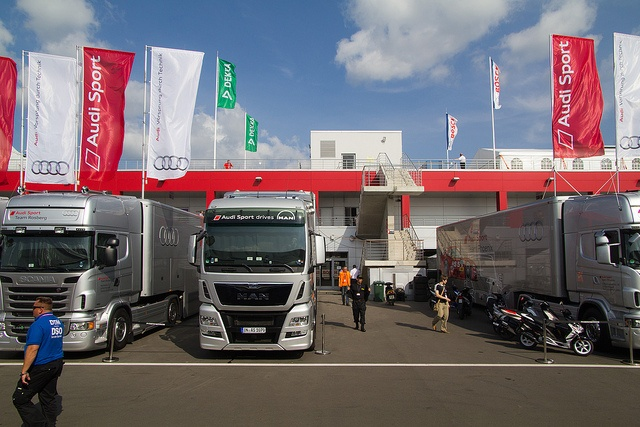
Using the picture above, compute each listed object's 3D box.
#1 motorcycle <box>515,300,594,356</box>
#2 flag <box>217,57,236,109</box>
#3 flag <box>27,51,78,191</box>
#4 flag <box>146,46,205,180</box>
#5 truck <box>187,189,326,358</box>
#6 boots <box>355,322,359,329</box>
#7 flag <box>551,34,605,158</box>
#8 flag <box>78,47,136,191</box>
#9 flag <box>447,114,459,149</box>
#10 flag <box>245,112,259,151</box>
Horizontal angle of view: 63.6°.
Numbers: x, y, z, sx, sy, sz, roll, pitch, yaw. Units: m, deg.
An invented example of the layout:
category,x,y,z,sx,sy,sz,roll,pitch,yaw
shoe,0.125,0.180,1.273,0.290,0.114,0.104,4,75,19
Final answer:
category,x,y,z,sx,sy,sz,roll,pitch,yaw
motorcycle,7.804,3.905,17.285,1.133,1.414,2.235,4,-8,-34
flag,-6.343,-8.796,34.906,1.189,3.176,0.772,-2,9,-12
flag,-12.095,-4.253,23.303,2.101,5.839,1.207,-2,9,-13
flag,-6.675,-4.523,23.281,2.292,5.829,1.467,-3,9,-16
truck,-1.944,1.816,15.790,2.431,3.492,6.564,-1,-10,2
boots,1.456,4.368,19.978,0.169,0.293,0.171,0,-10,1
flag,11.267,-5.180,22.651,2.233,5.317,1.472,4,10,24
flag,-9.777,-4.478,23.280,2.206,5.883,1.101,-4,10,-23
flag,10.504,-6.462,40.970,0.660,2.719,2.894,2,10,15
flag,-5.228,-6.166,39.536,0.853,2.744,1.164,-3,9,-15
